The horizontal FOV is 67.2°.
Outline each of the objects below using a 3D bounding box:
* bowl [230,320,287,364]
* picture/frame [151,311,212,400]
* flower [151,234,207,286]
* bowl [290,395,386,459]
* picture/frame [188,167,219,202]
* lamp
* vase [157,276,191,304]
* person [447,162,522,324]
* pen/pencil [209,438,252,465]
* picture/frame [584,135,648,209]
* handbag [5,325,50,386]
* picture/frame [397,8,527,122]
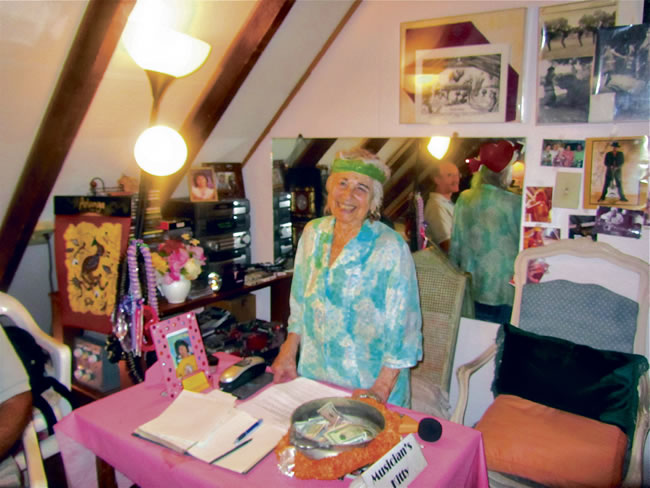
[{"bbox_3d":[-0.436,0.602,3.145,0.211,0.246,0.399,9,7,35],"label":"bowl"},{"bbox_3d":[-0.664,0.517,2.212,0.239,0.394,0.210,-18,15,-40],"label":"picture/frame"},{"bbox_3d":[-0.931,0.096,3.076,0.337,0.284,0.200,-1,3,-33],"label":"flower"},{"bbox_3d":[0.025,0.691,1.752,0.337,0.121,0.360,0,7,0],"label":"bowl"},{"bbox_3d":[-0.885,-0.423,3.508,0.234,0.330,0.033,-7,-2,-32],"label":"picture/frame"},{"bbox_3d":[-0.947,-0.622,2.944,0.454,1.164,0.571,-1,3,-21],"label":"lamp"},{"bbox_3d":[-0.941,0.283,3.051,0.179,0.151,0.152,-1,1,35],"label":"vase"},{"bbox_3d":[1.018,0.019,3.141,0.425,0.975,0.224,0,30,13],"label":"person"},{"bbox_3d":[-0.355,0.776,1.812,0.016,0.011,0.136,24,32,34],"label":"pen/pencil"},{"bbox_3d":[1.607,-0.403,2.668,0.365,0.520,0.038,2,5,27],"label":"picture/frame"},{"bbox_3d":[-1.620,0.609,2.665,0.224,0.234,0.299,-2,-18,-31],"label":"handbag"},{"bbox_3d":[0.860,-1.101,2.958,0.693,0.641,0.033,5,12,31],"label":"picture/frame"}]
